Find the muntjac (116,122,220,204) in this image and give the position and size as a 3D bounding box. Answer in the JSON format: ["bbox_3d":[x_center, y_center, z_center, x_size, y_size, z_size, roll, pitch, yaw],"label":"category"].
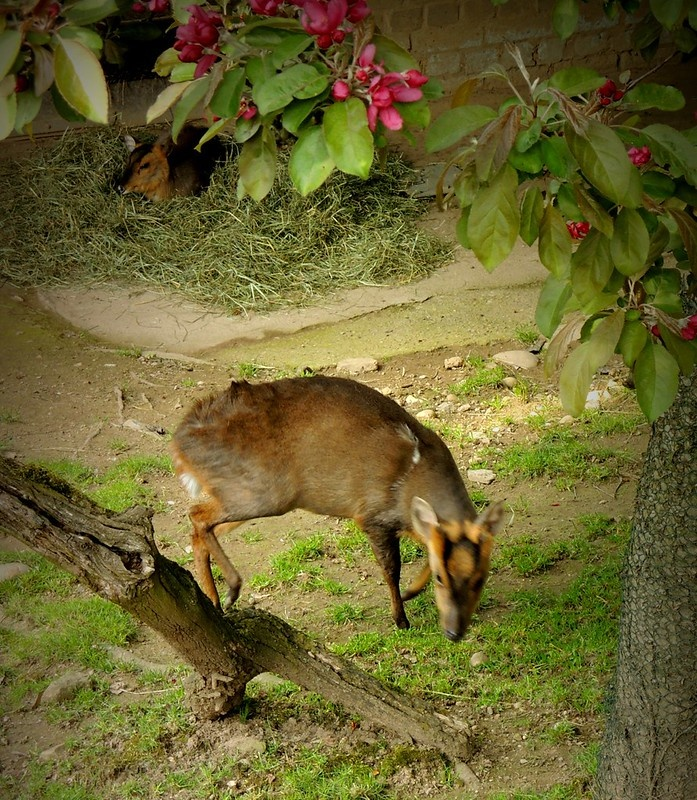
[{"bbox_3d":[-1.998,-2.669,9.714,1.222,0.788,0.609,-7,22,-22],"label":"muntjac"}]

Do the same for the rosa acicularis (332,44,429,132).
[{"bbox_3d":[0.065,-0.662,1.818,0.188,0.177,0.264,6,19,16],"label":"rosa acicularis"}]

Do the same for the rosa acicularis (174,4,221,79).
[{"bbox_3d":[-0.340,-0.811,1.940,0.112,0.153,0.141,-3,20,-8],"label":"rosa acicularis"}]

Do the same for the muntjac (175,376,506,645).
[{"bbox_3d":[-0.173,0.406,4.493,2.202,1.049,0.895,21,30,11],"label":"muntjac"}]
